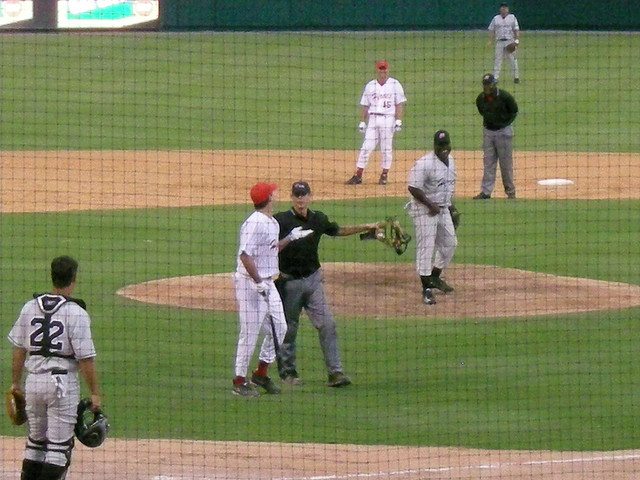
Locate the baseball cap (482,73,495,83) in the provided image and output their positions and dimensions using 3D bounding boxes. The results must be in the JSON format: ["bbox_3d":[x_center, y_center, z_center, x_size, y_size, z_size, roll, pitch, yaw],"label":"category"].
[{"bbox_3d":[2.992,-2.846,26.409,0.232,0.125,0.289,4,10,13],"label":"baseball cap"}]

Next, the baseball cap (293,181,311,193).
[{"bbox_3d":[-0.270,-0.738,20.988,0.228,0.137,0.342,0,5,-3],"label":"baseball cap"}]

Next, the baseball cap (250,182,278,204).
[{"bbox_3d":[-0.785,-0.682,20.662,0.341,0.171,0.222,-41,39,-19],"label":"baseball cap"}]

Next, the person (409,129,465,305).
[{"bbox_3d":[1.799,-0.365,23.564,0.780,2.676,1.257,1,5,4],"label":"person"}]

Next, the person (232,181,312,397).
[{"bbox_3d":[-0.807,0.684,20.917,0.825,2.957,1.056,0,5,-1],"label":"person"}]

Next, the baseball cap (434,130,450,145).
[{"bbox_3d":[1.889,-1.575,23.096,0.233,0.200,0.437,1,5,4],"label":"baseball cap"}]

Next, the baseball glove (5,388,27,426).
[{"bbox_3d":[-3.745,2.038,18.314,0.311,0.384,0.113,-18,4,38],"label":"baseball glove"}]

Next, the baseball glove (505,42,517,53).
[{"bbox_3d":[4.568,-4.575,35.633,0.179,0.235,0.225,5,24,16],"label":"baseball glove"}]

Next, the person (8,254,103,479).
[{"bbox_3d":[-3.249,1.570,18.256,1.083,2.688,0.558,0,5,-9],"label":"person"}]
